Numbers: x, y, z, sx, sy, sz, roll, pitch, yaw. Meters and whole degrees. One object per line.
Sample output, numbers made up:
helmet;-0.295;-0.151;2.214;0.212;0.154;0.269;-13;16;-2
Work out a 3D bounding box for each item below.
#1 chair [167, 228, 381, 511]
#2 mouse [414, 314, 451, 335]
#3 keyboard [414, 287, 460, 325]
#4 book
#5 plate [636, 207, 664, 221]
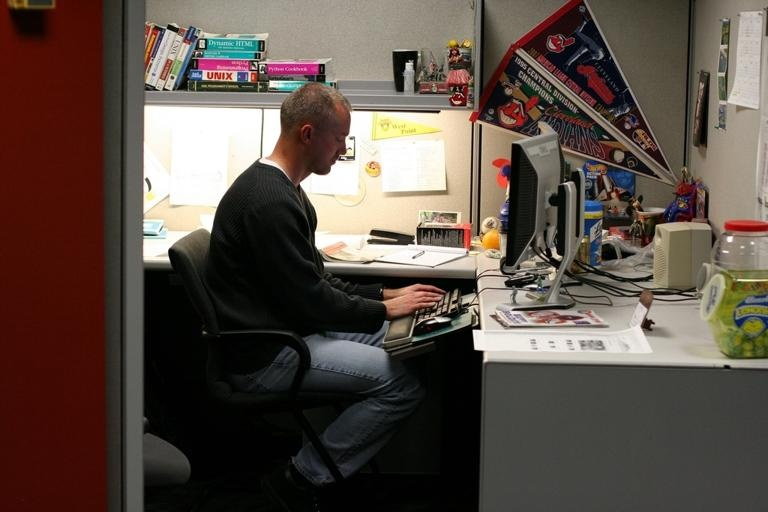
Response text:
chair;-0.467;0.358;2.626;0.885;1.225;0.858;-4;3;-3
mouse;0.168;0.234;2.032;0.107;0.035;0.060;-20;14;19
keyboard;0.212;0.178;2.185;0.085;0.030;0.215;-14;13;14
book;-0.732;-0.967;2.914;0.897;0.331;0.148;1;9;7
plate;1.240;-0.198;2.733;0.110;0.046;0.119;-1;4;8
